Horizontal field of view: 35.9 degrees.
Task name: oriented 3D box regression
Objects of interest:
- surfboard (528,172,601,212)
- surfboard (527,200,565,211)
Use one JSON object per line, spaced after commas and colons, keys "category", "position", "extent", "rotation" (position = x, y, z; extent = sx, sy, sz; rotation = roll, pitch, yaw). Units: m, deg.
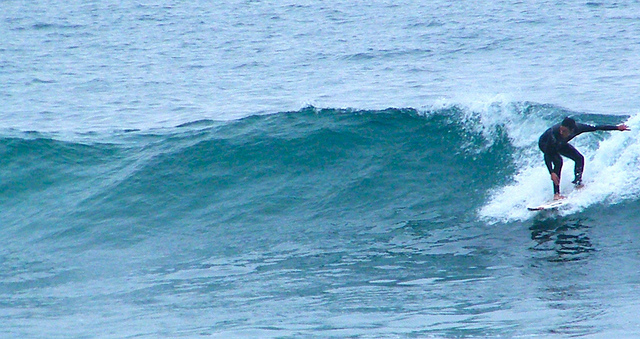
{"category": "surfboard", "position": [10.221, 0.953, 41.526], "extent": [0.871, 3.421, 0.481], "rotation": [-34, 48, 7]}
{"category": "surfboard", "position": [9.696, 1.498, 41.976], "extent": [2.125, 0.193, 0.344], "rotation": [-8, 48, -2]}
